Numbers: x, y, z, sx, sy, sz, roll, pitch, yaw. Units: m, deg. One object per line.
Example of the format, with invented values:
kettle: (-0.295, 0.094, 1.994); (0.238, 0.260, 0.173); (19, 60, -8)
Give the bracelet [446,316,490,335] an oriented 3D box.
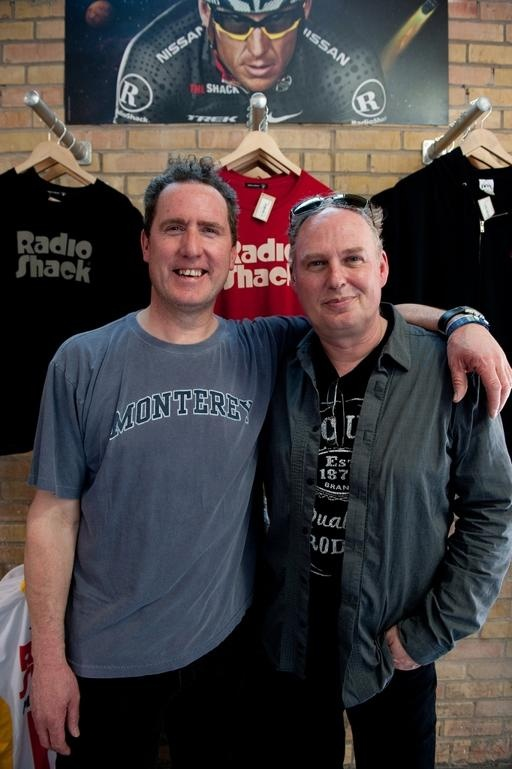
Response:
bracelet: (0.506, -0.148, 1.871); (0.100, 0.052, 0.067); (2, 5, 12)
